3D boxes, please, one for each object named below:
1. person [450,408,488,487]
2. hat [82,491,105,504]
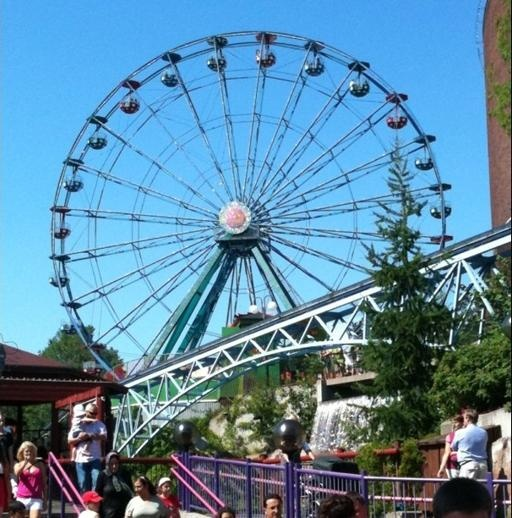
[{"bbox_3d":[2.993,2.603,15.086,0.497,0.977,0.523,-2,-14,10],"label":"person"},{"bbox_3d":[-2.380,3.430,15.452,0.240,0.120,0.167,2,-14,0],"label":"hat"}]
